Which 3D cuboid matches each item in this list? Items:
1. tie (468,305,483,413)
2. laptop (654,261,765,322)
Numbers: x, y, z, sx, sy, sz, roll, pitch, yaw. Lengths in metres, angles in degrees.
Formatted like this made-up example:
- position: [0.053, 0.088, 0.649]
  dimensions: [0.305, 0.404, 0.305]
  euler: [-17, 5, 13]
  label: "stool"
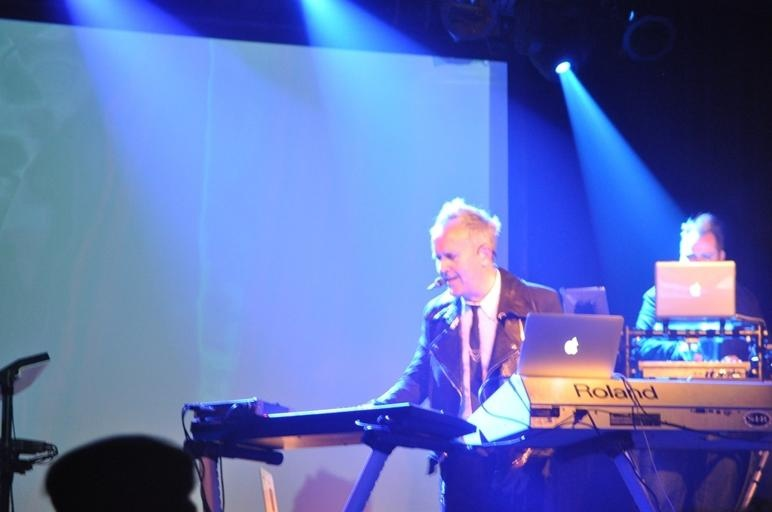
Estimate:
- position: [0.564, 0.631, 4.338]
  dimensions: [0.073, 0.642, 0.081]
  euler: [-2, -8, 9]
  label: "tie"
- position: [1.829, 0.201, 4.249]
  dimensions: [0.505, 0.374, 0.378]
  euler: [-1, 5, 5]
  label: "laptop"
